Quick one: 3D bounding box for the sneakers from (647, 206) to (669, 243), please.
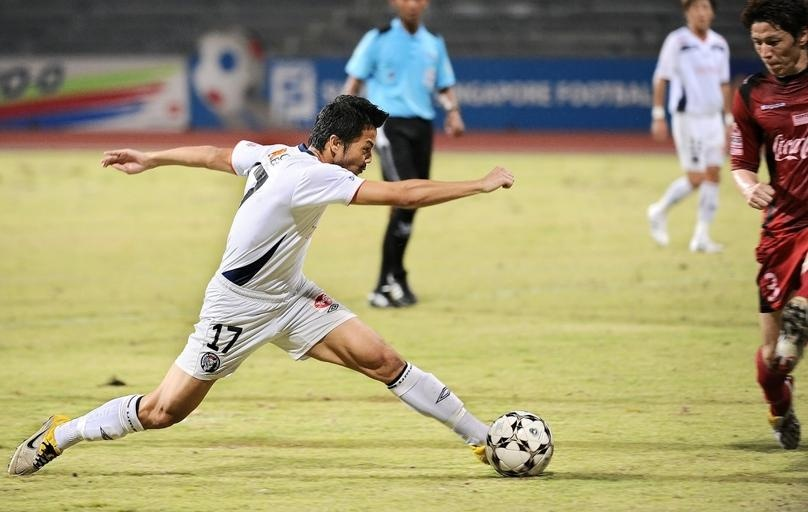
[{"bbox_3d":[2.912,-0.344,14.186,0.179,0.455,0.320,-18,-15,36],"label":"sneakers"}]

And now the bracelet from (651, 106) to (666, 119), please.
[{"bbox_3d":[3.223,-1.815,15.394,0.117,0.159,0.195,-4,12,0],"label":"bracelet"}]
